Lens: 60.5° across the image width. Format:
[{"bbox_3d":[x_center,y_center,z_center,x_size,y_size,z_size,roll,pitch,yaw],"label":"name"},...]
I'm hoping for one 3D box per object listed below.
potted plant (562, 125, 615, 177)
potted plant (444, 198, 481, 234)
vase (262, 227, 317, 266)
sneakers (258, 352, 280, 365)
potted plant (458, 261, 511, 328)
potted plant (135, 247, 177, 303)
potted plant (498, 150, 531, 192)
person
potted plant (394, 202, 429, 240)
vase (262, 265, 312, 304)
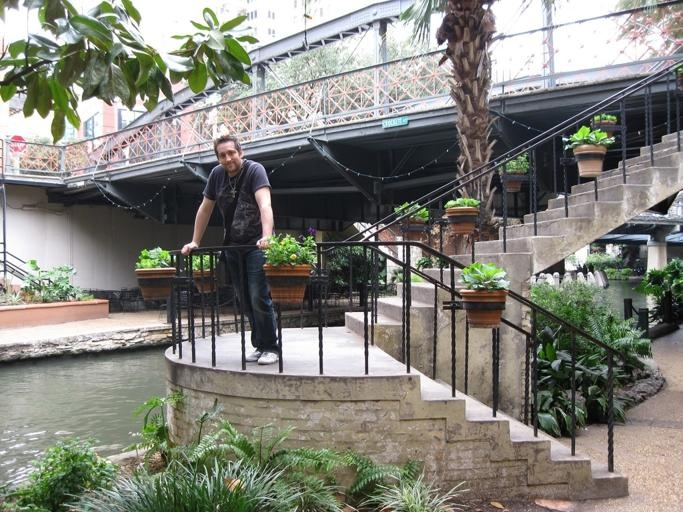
[{"bbox_3d":[3.018,-1.240,7.188,0.500,0.516,0.475,-6,0,42],"label":"potted plant"},{"bbox_3d":[1.564,-0.493,7.570,0.450,0.438,0.479,-4,2,-44],"label":"potted plant"},{"bbox_3d":[-0.462,-0.057,5.361,0.475,0.299,0.413,-1,-3,-11],"label":"vase"},{"bbox_3d":[-0.692,0.975,5.580,0.087,0.092,0.220,-3,-13,11],"label":"sneakers"},{"bbox_3d":[1.293,0.369,5.670,0.509,0.651,0.566,0,-2,-6],"label":"potted plant"},{"bbox_3d":[-2.037,0.226,6.441,0.529,0.680,0.501,0,-8,-9],"label":"potted plant"},{"bbox_3d":[2.948,-1.448,10.064,0.423,0.607,0.488,0,7,-20],"label":"potted plant"},{"bbox_3d":[-0.955,-0.052,5.626,1.068,2.169,0.604,-2,-2,32],"label":"person"},{"bbox_3d":[1.084,-0.447,8.683,0.456,0.534,0.422,1,-2,-6],"label":"potted plant"},{"bbox_3d":[-0.476,0.239,5.268,0.408,0.360,0.339,0,-2,-2],"label":"vase"}]
